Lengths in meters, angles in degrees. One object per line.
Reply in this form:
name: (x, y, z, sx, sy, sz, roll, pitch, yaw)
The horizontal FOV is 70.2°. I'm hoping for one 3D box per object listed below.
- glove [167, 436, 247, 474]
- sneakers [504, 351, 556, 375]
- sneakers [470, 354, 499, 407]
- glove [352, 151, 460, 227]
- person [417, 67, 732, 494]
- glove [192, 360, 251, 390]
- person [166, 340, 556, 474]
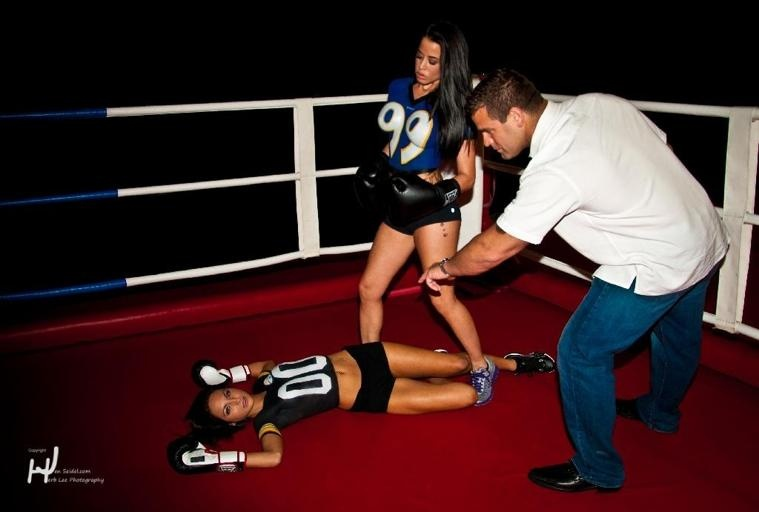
glove: (-0.898, 1.031, 2.782, 0.272, 0.108, 0.204, -8, 40, -18)
sneakers: (0.909, 0.646, 3.385, 0.355, 0.134, 0.156, -4, 8, -4)
sneakers: (0.604, 0.724, 3.165, 0.116, 0.133, 0.291, -28, 25, 44)
glove: (0.133, -0.329, 3.007, 0.492, 0.260, 0.382, -4, 50, -32)
person: (1.038, 0.147, 2.525, 1.276, 1.918, 0.646, -7, 22, -11)
glove: (-0.954, 0.714, 3.252, 0.250, 0.121, 0.177, -8, 54, -38)
person: (-0.234, 0.671, 2.962, 1.603, 0.359, 0.747, -2, 11, -7)
